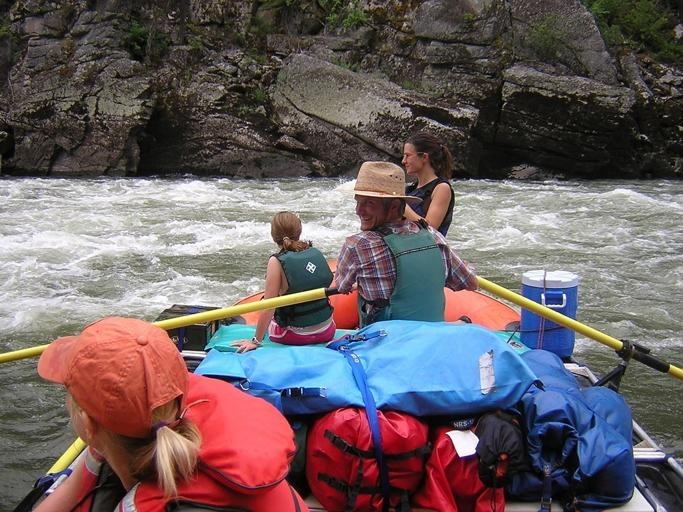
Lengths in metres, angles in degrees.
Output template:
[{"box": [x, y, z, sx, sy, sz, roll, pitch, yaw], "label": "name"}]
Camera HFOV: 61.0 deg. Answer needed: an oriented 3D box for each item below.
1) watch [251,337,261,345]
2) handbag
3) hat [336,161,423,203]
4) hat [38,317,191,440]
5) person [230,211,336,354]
[{"box": [-0.541, 0.541, 3.655, 0.055, 0.026, 0.038, 6, 1, 2], "label": "watch"}, {"box": [0.425, 0.619, 2.544, 1.484, 0.370, 0.962, 1, 7, -1], "label": "handbag"}, {"box": [0.188, -0.437, 3.239, 0.470, 0.146, 0.422, 5, 15, -25], "label": "hat"}, {"box": [-0.748, 0.343, 1.964, 0.521, 0.258, 0.355, 30, 34, 19], "label": "hat"}, {"box": [-0.349, 0.170, 4.038, 0.746, 0.823, 0.932, 2, 14, 16], "label": "person"}]
